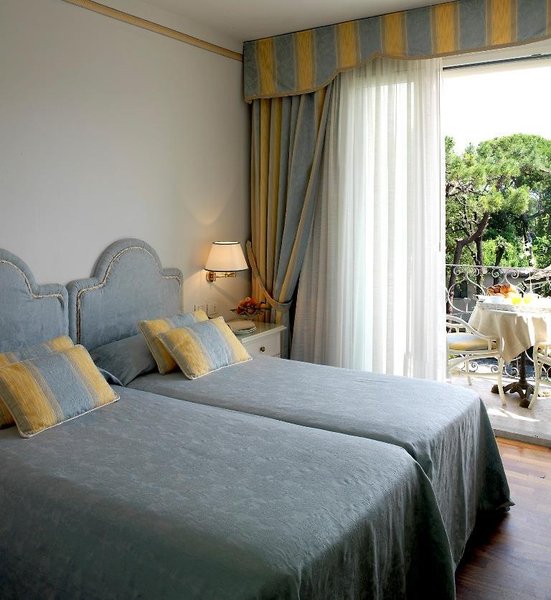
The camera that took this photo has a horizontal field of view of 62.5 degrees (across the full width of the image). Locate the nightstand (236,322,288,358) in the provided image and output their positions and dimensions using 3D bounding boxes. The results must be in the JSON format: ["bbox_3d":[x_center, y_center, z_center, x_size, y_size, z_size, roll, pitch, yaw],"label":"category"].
[{"bbox_3d":[-0.112,0.355,3.893,0.260,0.441,0.429,5,9,32],"label":"nightstand"}]

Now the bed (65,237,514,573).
[{"bbox_3d":[-0.047,0.456,2.775,2.502,1.479,1.484,6,8,33],"label":"bed"}]

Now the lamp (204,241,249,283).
[{"bbox_3d":[-0.404,-0.290,3.751,0.320,0.326,0.306,-2,-12,43],"label":"lamp"}]

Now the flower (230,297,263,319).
[{"bbox_3d":[-0.231,0.077,4.099,0.201,0.154,0.206,-8,14,1],"label":"flower"}]

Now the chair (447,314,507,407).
[{"bbox_3d":[1.721,0.452,4.230,0.623,0.924,0.658,-3,6,21],"label":"chair"}]
